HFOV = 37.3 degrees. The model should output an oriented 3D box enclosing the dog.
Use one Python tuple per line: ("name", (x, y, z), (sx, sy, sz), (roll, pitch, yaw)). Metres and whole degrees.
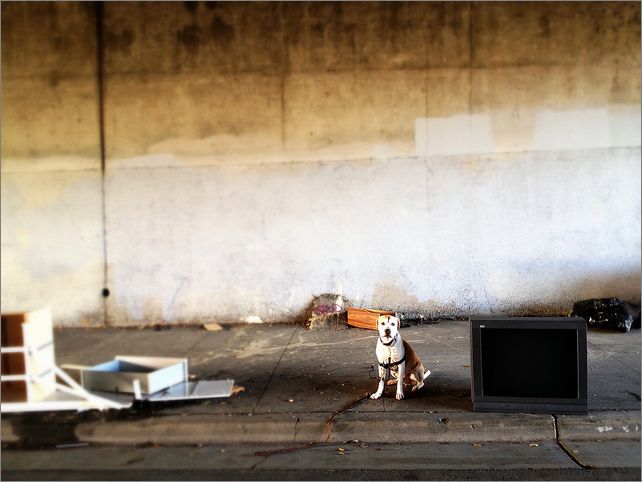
("dog", (1.229, 1.863, 15.314), (0.848, 1.367, 0.363), (-4, 3, -24))
